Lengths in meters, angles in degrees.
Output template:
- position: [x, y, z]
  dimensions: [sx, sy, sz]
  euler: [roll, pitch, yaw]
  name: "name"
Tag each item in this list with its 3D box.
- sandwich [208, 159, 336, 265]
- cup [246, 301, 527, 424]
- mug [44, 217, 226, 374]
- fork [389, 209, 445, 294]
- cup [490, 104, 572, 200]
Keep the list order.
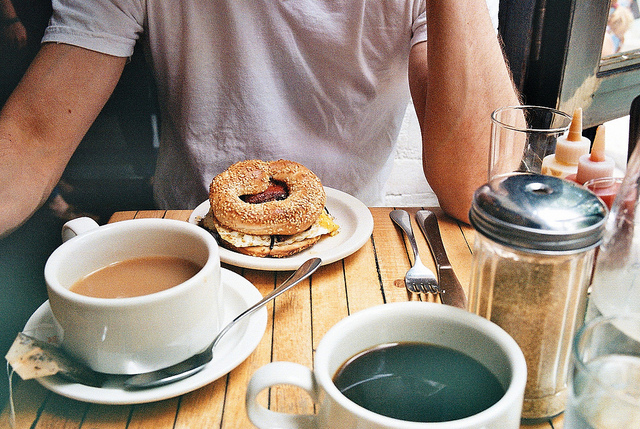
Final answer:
- position: [-0.098, -0.016, 1.047]
  dimensions: [0.255, 0.095, 0.256]
  euler: [1, 32, -6]
  name: "sandwich"
- position: [0.080, 0.151, 0.553]
  dimensions: [0.231, 0.106, 0.164]
  euler: [1, 28, 6]
  name: "cup"
- position: [-0.245, 0.111, 0.707]
  dimensions: [0.221, 0.146, 0.176]
  euler: [-8, 32, -8]
  name: "mug"
- position: [0.157, 0.059, 0.916]
  dimensions: [0.055, 0.016, 0.268]
  euler: [-5, 32, -3]
  name: "fork"
- position: [0.358, -0.127, 0.941]
  dimensions: [0.121, 0.151, 0.149]
  euler: [-11, 11, -41]
  name: "cup"
